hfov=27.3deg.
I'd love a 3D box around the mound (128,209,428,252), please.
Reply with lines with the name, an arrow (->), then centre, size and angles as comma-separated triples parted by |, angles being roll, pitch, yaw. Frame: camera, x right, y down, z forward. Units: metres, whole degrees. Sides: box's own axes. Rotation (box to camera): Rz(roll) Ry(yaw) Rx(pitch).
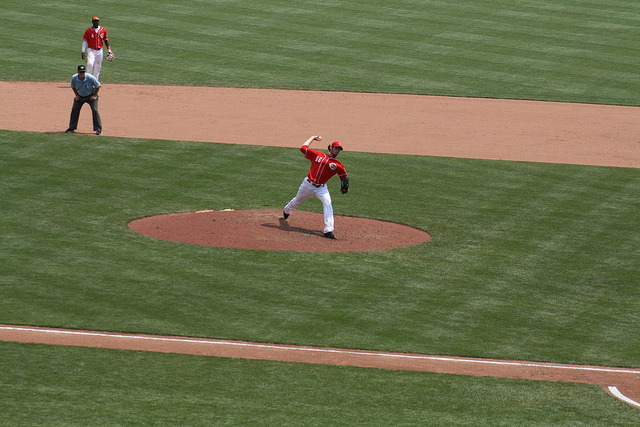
mound -> -1.059, 0.434, 30.724 | 6.341, 0.548, 1.916 | 5, 16, -4

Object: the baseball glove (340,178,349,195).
baseball glove -> 0.515, -0.607, 30.486 | 0.170, 0.410, 0.373 | 13, 19, 0
